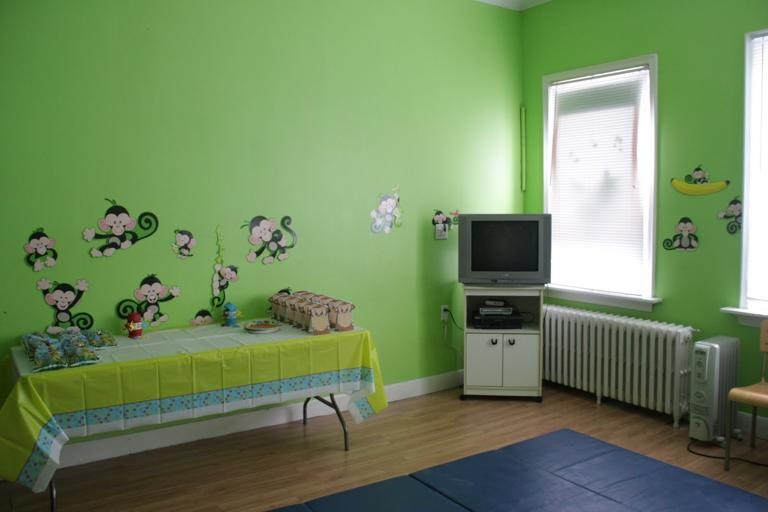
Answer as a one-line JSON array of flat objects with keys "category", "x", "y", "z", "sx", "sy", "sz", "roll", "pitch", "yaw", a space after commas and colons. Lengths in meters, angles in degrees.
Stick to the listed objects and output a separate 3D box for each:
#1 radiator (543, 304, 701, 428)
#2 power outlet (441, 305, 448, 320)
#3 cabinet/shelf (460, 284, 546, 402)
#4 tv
[{"category": "radiator", "x": 2.257, "y": 1.027, "z": 5.090, "sx": 0.192, "sy": 0.595, "sz": 1.068, "roll": -1, "pitch": 4, "yaw": -43}, {"category": "power outlet", "x": 0.627, "y": 0.582, "z": 5.657, "sx": 0.098, "sy": 0.157, "sz": 0.032, "roll": -5, "pitch": 13, "yaw": -20}, {"category": "cabinet/shelf", "x": 1.212, "y": 0.855, "z": 5.605, "sx": 0.836, "sy": 1.032, "sz": 0.582, "roll": -1, "pitch": -4, "yaw": 15}, {"category": "tv", "x": 1.143, "y": -0.042, "z": 5.627, "sx": 1.012, "sy": 0.699, "sz": 0.534, "roll": 0, "pitch": -2, "yaw": -11}]
